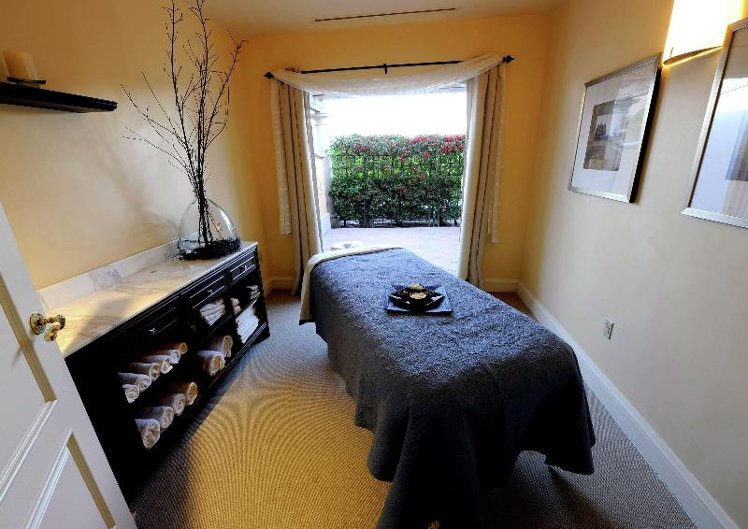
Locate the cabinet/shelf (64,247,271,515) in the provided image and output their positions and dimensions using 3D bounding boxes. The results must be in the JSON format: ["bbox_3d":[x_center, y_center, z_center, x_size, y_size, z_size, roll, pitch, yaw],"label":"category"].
[{"bbox_3d":[-1.209,0.676,2.656,0.377,0.709,1.234,-4,25,4],"label":"cabinet/shelf"}]

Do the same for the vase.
[{"bbox_3d":[-1.113,-0.312,3.354,0.424,0.506,0.444,-3,13,0],"label":"vase"}]

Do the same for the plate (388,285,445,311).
[{"bbox_3d":[0.249,0.206,2.763,0.196,0.055,0.204,5,15,28],"label":"plate"}]
